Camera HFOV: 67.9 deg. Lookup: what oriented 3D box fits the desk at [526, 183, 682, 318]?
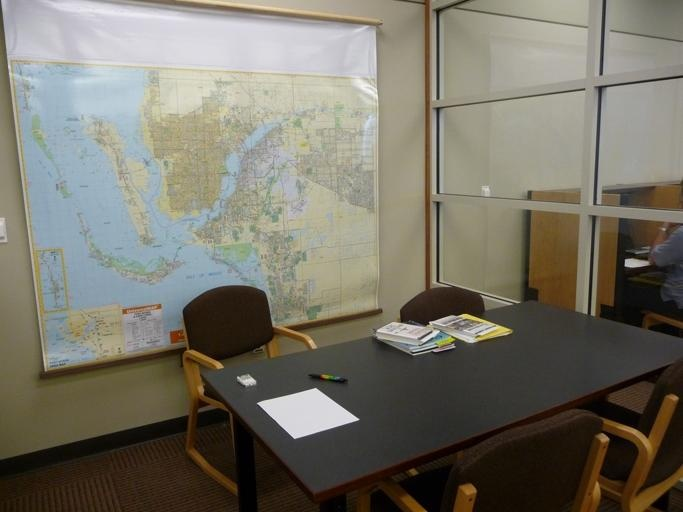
[{"bbox_3d":[1.782,-0.031,3.557,0.692,0.934,0.922,-3,6,-35],"label":"desk"}]
